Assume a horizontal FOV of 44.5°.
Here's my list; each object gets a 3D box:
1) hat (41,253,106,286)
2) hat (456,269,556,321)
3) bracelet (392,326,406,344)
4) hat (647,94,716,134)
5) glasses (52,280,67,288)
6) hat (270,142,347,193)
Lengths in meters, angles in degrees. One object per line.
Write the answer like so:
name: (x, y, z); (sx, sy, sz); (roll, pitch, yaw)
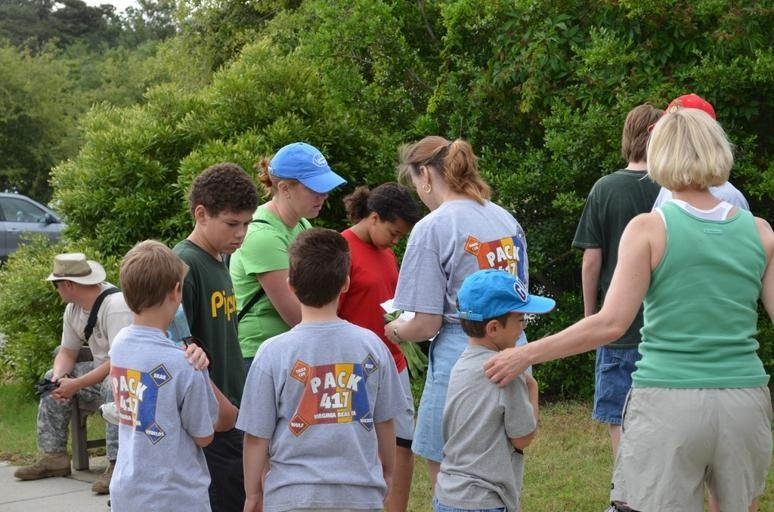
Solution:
hat: (-3.002, 0.098, 8.965); (0.638, 0.226, 0.569); (-2, 15, -15)
hat: (0.848, 0.271, 6.972); (0.592, 0.240, 0.372); (-3, 8, 0)
bracelet: (0.081, 0.625, 7.466); (0.118, 0.079, 0.117); (29, -2, 12)
hat: (2.623, -1.387, 8.483); (0.545, 0.280, 0.344); (-2, 7, -20)
glasses: (-3.068, 0.251, 8.912); (0.120, 0.084, 0.090); (1, 40, 11)
hat: (-0.654, -0.751, 7.861); (0.592, 0.235, 0.377); (18, 17, -1)
